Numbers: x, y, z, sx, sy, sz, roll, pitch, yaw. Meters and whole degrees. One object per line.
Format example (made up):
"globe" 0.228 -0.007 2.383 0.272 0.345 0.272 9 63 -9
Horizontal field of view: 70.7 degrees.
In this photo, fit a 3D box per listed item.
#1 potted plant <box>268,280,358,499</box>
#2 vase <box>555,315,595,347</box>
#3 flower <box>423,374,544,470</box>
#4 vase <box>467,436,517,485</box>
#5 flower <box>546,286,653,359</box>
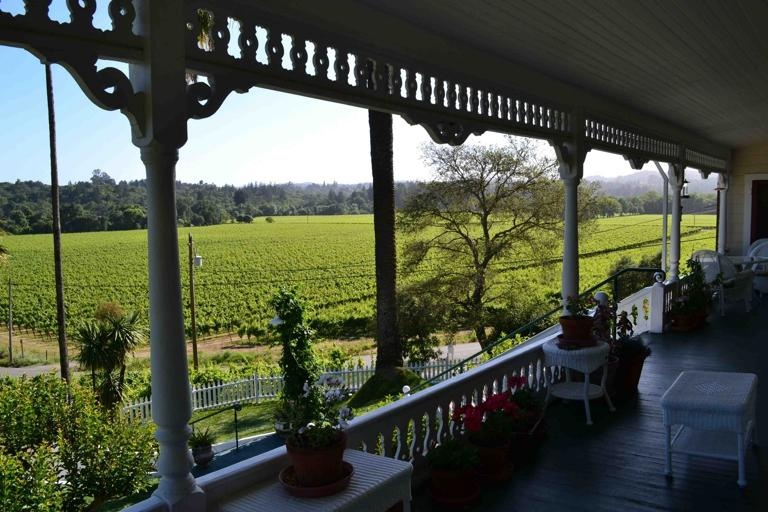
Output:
"potted plant" -0.541 1.020 3.733 0.484 1.225 0.546 1 9 39
"vase" 2.090 0.810 5.906 0.333 0.267 0.325 -4 2 -42
"flower" 0.992 1.526 5.051 0.619 0.477 1.081 -1 -3 2
"vase" 0.988 1.828 4.874 0.324 0.270 0.348 -1 -4 5
"flower" 2.440 0.718 6.347 0.681 0.722 1.186 -1 -2 40
